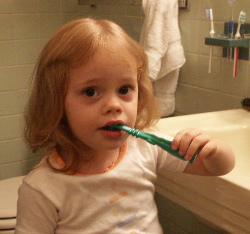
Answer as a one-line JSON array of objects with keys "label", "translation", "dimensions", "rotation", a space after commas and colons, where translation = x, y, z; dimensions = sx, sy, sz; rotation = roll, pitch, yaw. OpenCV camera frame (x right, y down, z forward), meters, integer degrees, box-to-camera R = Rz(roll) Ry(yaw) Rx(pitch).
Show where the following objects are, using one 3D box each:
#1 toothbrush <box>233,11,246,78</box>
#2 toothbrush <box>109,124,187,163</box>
[{"label": "toothbrush", "translation": [0.378, -0.246, 0.865], "dimensions": [0.031, 0.248, 0.024], "rotation": [4, 9, -7]}, {"label": "toothbrush", "translation": [0.040, 0.056, 0.501], "dimensions": [0.186, 0.020, 0.037], "rotation": [20, -4, 15]}]
